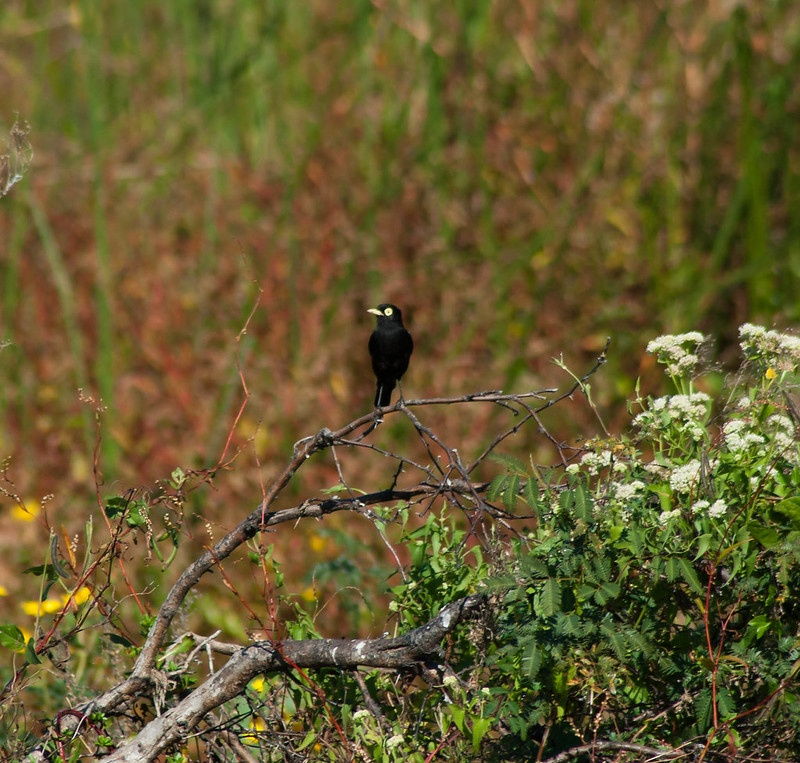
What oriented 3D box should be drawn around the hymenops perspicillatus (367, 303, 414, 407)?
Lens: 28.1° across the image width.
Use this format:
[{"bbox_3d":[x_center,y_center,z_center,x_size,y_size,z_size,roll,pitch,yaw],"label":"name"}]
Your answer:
[{"bbox_3d":[-0.046,-0.110,6.734,0.200,0.438,0.515,-2,1,0],"label":"hymenops perspicillatus"}]
